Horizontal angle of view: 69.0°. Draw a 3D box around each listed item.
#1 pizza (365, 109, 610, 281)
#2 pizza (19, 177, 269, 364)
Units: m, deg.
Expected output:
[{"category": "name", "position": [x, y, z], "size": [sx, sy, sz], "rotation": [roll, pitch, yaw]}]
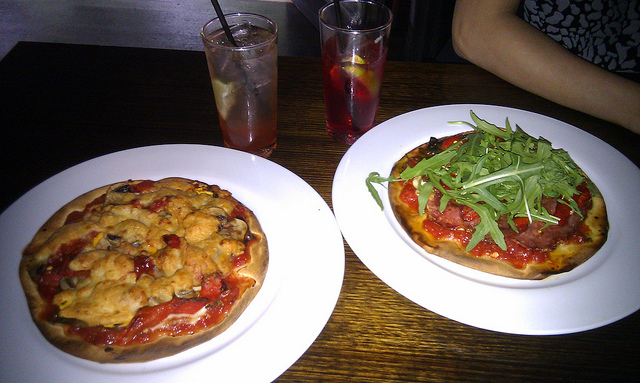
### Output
[{"category": "pizza", "position": [0.797, 0.037, 2.050], "size": [0.823, 0.236, 0.851], "rotation": [-41, 66, -21]}, {"category": "pizza", "position": [-0.713, 0.293, 1.899], "size": [0.996, 0.126, 0.766], "rotation": [-2, 58, 0]}]
